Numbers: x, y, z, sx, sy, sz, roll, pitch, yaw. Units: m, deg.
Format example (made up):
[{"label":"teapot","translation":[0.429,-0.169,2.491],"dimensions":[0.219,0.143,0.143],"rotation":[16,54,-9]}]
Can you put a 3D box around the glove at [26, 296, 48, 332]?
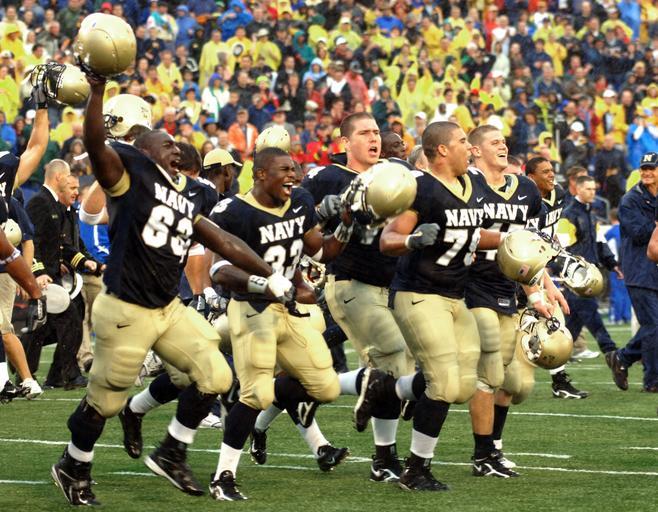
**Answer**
[{"label":"glove","translation":[-2.579,0.511,8.054],"dimensions":[0.142,0.315,0.300],"rotation":[6,-1,-19]}]

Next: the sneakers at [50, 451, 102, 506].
[{"label":"sneakers","translation":[-1.402,1.234,5.077],"dimensions":[0.346,0.308,0.126],"rotation":[6,-1,21]}]

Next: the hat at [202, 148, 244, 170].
[{"label":"hat","translation":[-0.882,-0.800,7.484],"dimensions":[0.247,0.133,0.179],"rotation":[-13,12,-12]}]

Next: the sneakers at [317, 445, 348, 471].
[{"label":"sneakers","translation":[0.026,1.323,5.942],"dimensions":[0.156,0.169,0.180],"rotation":[6,-1,-34]}]

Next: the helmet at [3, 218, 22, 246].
[{"label":"helmet","translation":[-2.615,-0.190,7.543],"dimensions":[0.140,0.239,0.664],"rotation":[6,0,-19]}]

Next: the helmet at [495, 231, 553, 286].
[{"label":"helmet","translation":[1.290,0.000,5.928],"dimensions":[0.372,0.332,0.256],"rotation":[6,-1,1]}]

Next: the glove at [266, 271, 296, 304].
[{"label":"glove","translation":[-0.266,0.183,5.148],"dimensions":[0.123,0.167,0.070],"rotation":[-34,-12,-16]}]

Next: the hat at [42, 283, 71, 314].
[{"label":"hat","translation":[-2.587,0.413,8.656],"dimensions":[0.171,0.306,0.485],"rotation":[5,-1,19]}]

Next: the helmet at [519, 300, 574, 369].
[{"label":"helmet","translation":[1.641,0.584,7.087],"dimensions":[0.373,0.386,0.490],"rotation":[5,21,-40]}]

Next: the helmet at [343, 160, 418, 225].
[{"label":"helmet","translation":[0.287,-0.406,5.471],"dimensions":[0.434,0.356,0.325],"rotation":[14,33,12]}]

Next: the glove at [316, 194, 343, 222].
[{"label":"glove","translation":[-0.005,-0.291,5.538],"dimensions":[0.120,0.060,0.158],"rotation":[22,-43,-22]}]

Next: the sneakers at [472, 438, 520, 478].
[{"label":"sneakers","translation":[1.106,1.319,5.902],"dimensions":[0.395,0.283,0.136],"rotation":[4,-8,-15]}]

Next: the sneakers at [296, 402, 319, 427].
[{"label":"sneakers","translation":[-0.134,1.027,5.972],"dimensions":[0.143,0.164,0.185],"rotation":[1,9,5]}]

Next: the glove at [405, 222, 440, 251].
[{"label":"glove","translation":[0.558,-0.114,5.252],"dimensions":[0.175,0.146,0.236],"rotation":[5,-1,34]}]

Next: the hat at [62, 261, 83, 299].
[{"label":"hat","translation":[-2.527,0.256,8.981],"dimensions":[0.070,0.273,0.247],"rotation":[-20,2,44]}]
